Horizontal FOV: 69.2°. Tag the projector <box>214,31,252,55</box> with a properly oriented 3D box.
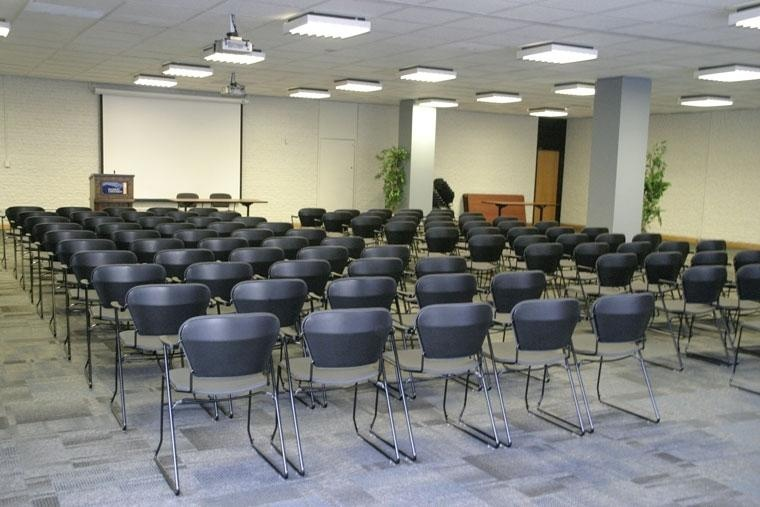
[{"bbox_3d":[-2.325,-3.355,8.815,0.422,0.313,0.957,-3,13,-20],"label":"projector"}]
